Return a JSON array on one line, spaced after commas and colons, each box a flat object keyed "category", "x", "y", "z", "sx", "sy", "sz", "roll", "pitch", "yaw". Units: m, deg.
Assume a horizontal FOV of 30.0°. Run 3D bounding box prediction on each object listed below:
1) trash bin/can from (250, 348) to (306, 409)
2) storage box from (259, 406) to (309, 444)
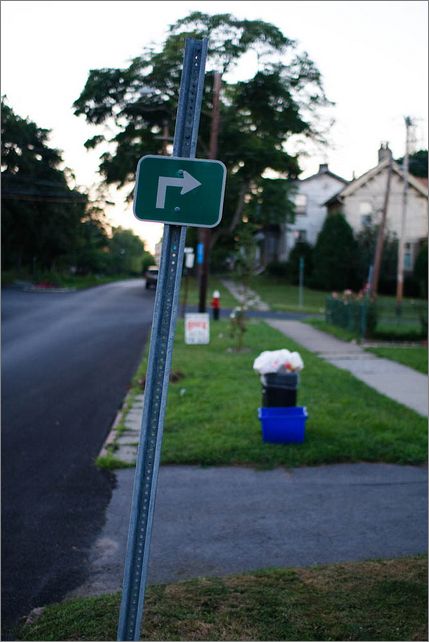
[{"category": "trash bin/can", "x": 0.560, "y": 0.552, "z": 7.512, "sx": 0.558, "sy": 0.556, "sz": 0.504, "roll": 0, "pitch": -4, "yaw": -1}, {"category": "storage box", "x": 0.620, "y": 0.936, "z": 7.076, "sx": 0.427, "sy": 0.211, "sz": 0.286, "roll": 0, "pitch": 0, "yaw": -1}]
